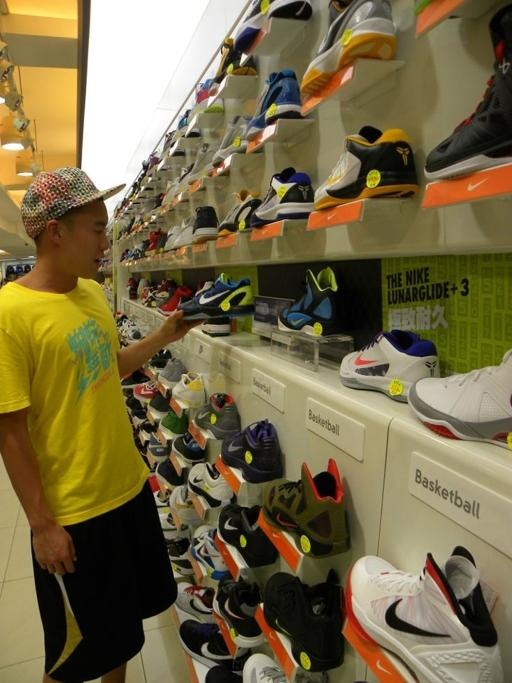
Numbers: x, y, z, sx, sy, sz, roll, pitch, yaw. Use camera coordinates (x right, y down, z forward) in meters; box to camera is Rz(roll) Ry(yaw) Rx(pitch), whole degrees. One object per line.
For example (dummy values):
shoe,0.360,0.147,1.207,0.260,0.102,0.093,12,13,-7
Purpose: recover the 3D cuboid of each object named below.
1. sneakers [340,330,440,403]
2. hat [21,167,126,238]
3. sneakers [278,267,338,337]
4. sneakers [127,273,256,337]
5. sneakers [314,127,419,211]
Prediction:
sneakers,0.302,0.048,1.090,0.110,0.111,0.255,-2,7,-20
hat,-0.520,-0.379,1.276,0.256,0.131,0.156,-30,11,-4
sneakers,0.160,-0.122,1.461,0.101,0.194,0.293,-7,11,-28
sneakers,-0.362,-0.189,2.176,0.633,0.275,0.220,7,8,33
sneakers,0.244,-0.417,1.109,0.139,0.155,0.361,-8,11,-21
